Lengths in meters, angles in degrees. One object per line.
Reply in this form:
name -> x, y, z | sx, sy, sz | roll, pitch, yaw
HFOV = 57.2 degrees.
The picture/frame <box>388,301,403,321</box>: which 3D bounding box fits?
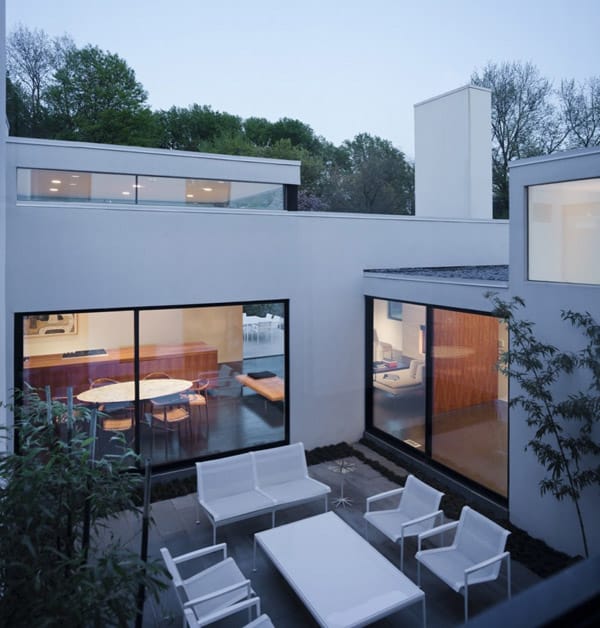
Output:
picture/frame -> 1.650, -0.075, 9.496 | 0.034, 0.299, 0.276 | -3, 6, -27
